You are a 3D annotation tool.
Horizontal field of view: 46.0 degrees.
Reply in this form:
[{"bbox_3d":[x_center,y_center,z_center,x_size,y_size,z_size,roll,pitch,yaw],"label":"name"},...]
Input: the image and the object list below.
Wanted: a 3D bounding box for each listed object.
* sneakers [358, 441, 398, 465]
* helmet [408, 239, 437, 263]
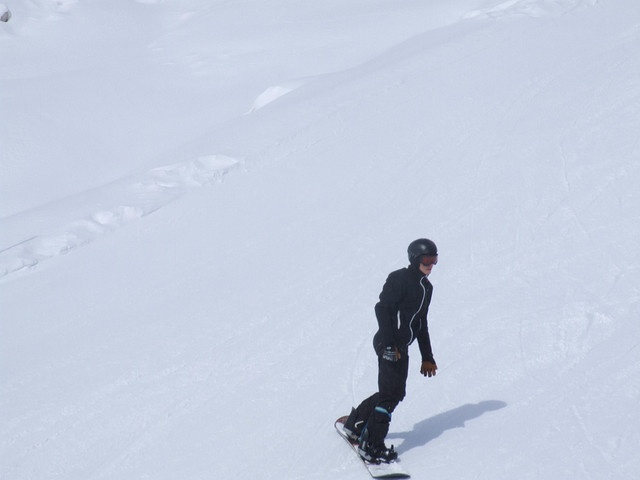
[{"bbox_3d":[0.717,2.648,9.417,0.553,0.309,0.194,0,9,0],"label":"sneakers"},{"bbox_3d":[1.299,0.118,9.520,0.309,0.274,0.275,-4,5,13],"label":"helmet"}]
